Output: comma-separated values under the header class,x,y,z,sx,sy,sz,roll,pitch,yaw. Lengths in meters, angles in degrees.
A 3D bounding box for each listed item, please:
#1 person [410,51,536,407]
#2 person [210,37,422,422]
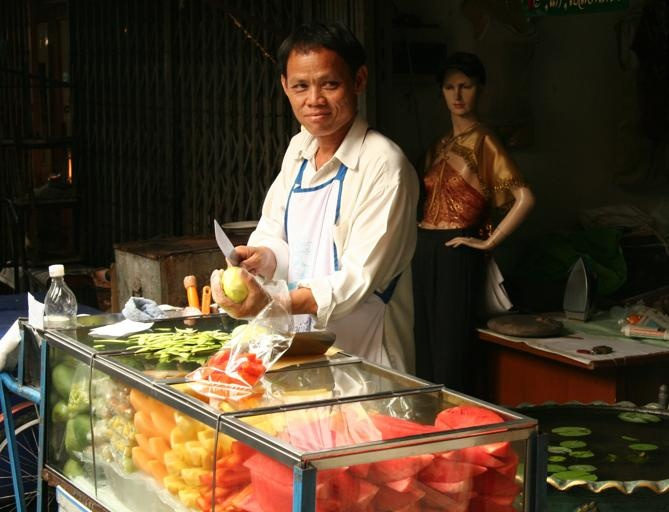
class,x,y,z,sx,sy,sz,roll,pitch,yaw
person,0.851,0.038,4.071,0.545,2.592,0.582,-1,14,-2
person,-0.045,-0.164,2.234,0.577,1.387,0.550,-2,4,-41
